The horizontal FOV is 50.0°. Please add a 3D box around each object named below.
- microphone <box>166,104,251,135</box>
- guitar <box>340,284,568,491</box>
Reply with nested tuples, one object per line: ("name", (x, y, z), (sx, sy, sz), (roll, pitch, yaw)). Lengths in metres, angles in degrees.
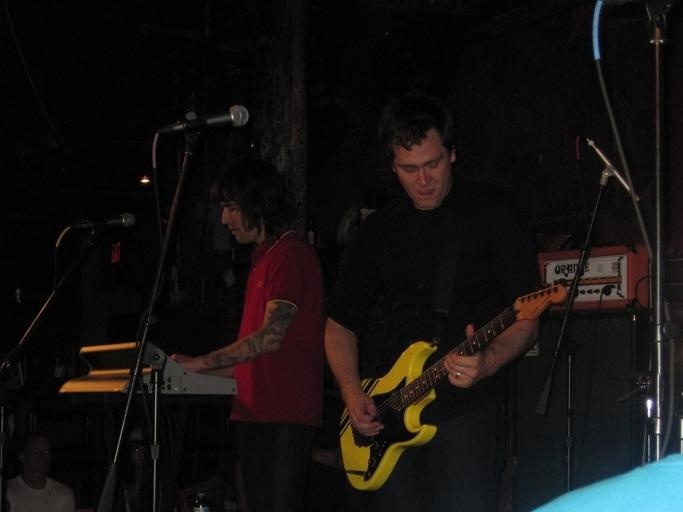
("microphone", (-0.654, -0.669, 3.749), (0.475, 0.145, 0.156), (-12, 30, -16))
("guitar", (0.415, 0.568, 3.321), (0.184, 0.524, 1.361), (26, -62, -37))
